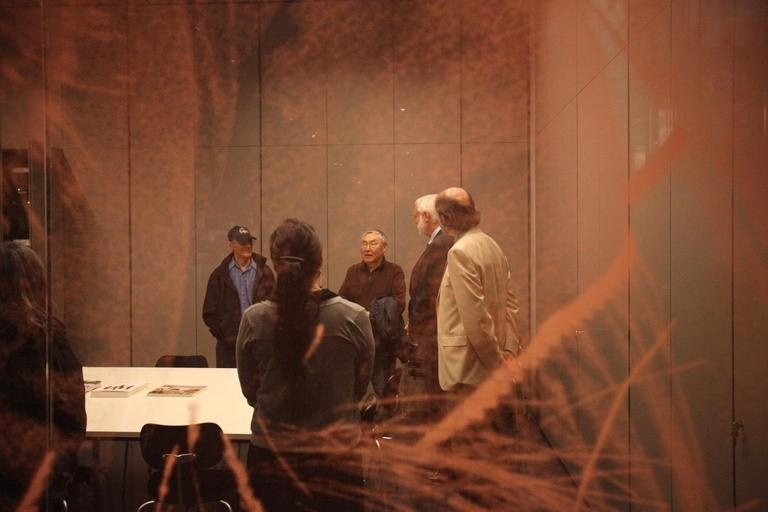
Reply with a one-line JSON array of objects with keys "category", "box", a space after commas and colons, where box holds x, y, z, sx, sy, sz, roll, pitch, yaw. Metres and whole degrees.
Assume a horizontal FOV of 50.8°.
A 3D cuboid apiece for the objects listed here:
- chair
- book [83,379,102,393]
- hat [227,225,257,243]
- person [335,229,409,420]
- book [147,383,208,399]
[{"category": "chair", "box": [-1.198, 1.132, 4.456, 1.106, 0.604, 0.624, 1, 3, 1]}, {"category": "book", "box": [-1.635, 0.727, 4.501, 0.071, 0.019, 0.078, 3, 10, 4]}, {"category": "hat", "box": [-0.768, -0.117, 4.341, 0.116, 0.074, 0.088, -4, -3, 28]}, {"category": "person", "box": [-0.096, 0.404, 4.324, 0.338, 1.118, 0.346, -2, -9, 31]}, {"category": "book", "box": [-1.124, 0.745, 4.458, 0.277, 0.034, 0.169, -5, 9, -4]}]
